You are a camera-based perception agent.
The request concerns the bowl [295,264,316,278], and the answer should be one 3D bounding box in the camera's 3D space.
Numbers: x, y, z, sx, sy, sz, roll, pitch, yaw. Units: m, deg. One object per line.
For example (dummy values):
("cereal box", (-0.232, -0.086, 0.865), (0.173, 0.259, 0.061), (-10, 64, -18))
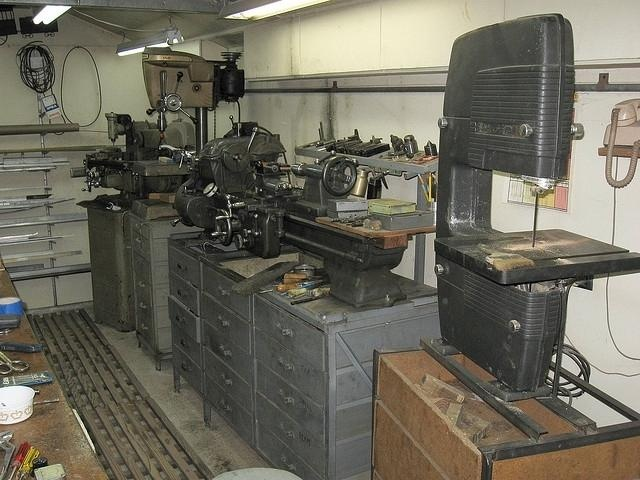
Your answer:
("bowl", (-0.091, 0.198, 3.076), (0.082, 0.074, 0.082), (0, -13, 0))
